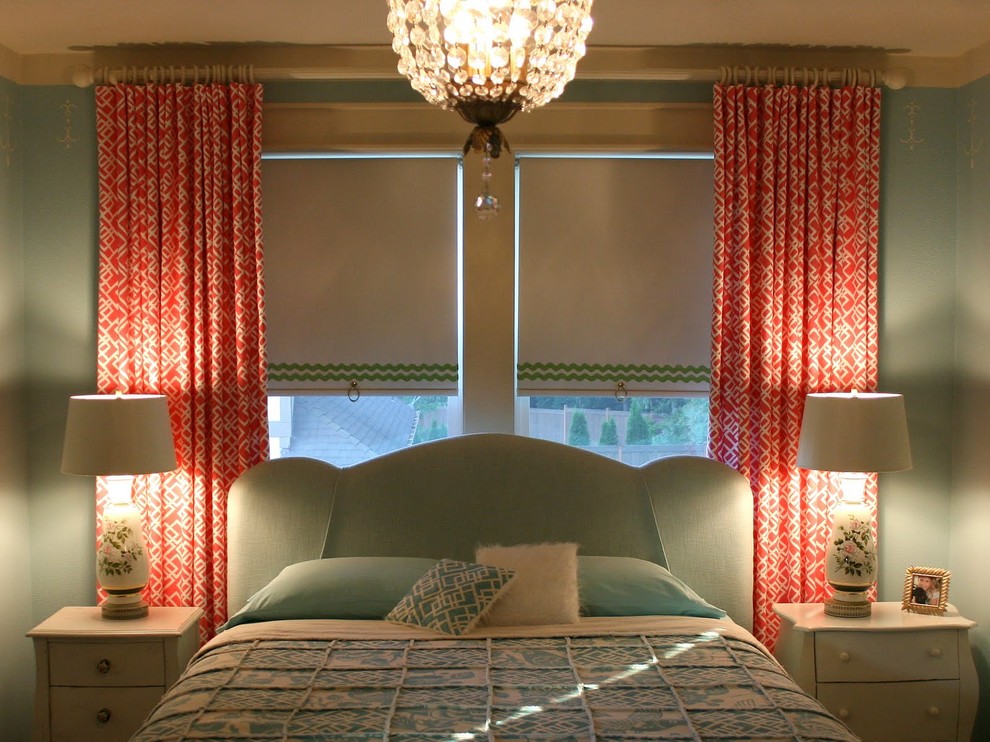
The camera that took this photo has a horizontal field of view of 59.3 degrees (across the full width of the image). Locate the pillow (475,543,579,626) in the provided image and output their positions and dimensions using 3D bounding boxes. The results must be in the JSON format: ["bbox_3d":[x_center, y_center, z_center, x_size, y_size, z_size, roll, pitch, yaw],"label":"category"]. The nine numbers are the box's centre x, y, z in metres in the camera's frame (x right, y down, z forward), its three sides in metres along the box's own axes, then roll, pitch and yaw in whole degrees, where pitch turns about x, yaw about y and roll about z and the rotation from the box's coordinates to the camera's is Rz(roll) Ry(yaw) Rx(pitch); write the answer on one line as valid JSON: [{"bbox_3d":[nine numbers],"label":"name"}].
[{"bbox_3d":[0.186,0.985,3.924,0.330,0.354,0.128,0,-21,2],"label":"pillow"}]

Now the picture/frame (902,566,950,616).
[{"bbox_3d":[2.077,1.057,4.175,0.199,0.233,0.032,-5,-38,42],"label":"picture/frame"}]
